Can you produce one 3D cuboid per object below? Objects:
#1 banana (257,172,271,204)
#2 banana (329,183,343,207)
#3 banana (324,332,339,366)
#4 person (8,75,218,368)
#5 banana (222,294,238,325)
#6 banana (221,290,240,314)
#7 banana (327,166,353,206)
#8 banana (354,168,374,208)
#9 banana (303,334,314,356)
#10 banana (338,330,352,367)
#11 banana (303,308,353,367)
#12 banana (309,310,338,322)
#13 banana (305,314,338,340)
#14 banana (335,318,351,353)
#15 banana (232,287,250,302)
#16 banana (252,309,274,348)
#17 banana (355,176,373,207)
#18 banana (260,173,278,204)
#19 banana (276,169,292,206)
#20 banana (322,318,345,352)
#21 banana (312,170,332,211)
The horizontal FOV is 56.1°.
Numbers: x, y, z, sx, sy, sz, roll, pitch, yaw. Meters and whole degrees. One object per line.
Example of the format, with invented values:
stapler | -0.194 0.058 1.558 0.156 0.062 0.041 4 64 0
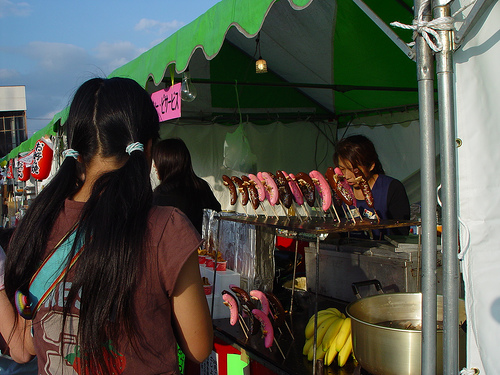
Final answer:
banana | 0.077 -0.005 2.608 0.043 0.214 0.042 -16 4 -12
banana | 0.447 0.036 2.448 0.036 0.159 0.032 -18 2 25
banana | 0.354 0.715 2.083 0.032 0.154 0.047 16 -17 11
person | -0.467 0.120 1.558 0.651 0.951 0.252 -3 -7 13
banana | -0.100 0.618 2.370 0.072 0.161 0.125 -1 -7 -7
banana | -0.099 0.579 2.425 0.070 0.116 0.031 22 27 24
banana | 0.442 -0.010 2.382 0.047 0.189 0.104 -33 -32 17
banana | 0.599 0.001 2.481 0.087 0.225 0.285 -3 -8 14
banana | 0.264 0.709 2.112 0.030 0.101 0.024 7 -18 37
banana | 0.410 0.711 2.026 0.035 0.189 0.056 14 -12 -11
banana | 0.341 0.620 2.076 0.170 0.260 0.085 -9 -49 40
banana | 0.351 0.609 2.220 0.111 0.043 0.127 -19 -9 -12
banana | 0.330 0.638 2.137 0.123 0.066 0.182 -6 9 8
banana | 0.407 0.636 2.041 0.041 0.181 0.051 11 -28 18
banana | -0.043 0.514 2.271 0.038 0.040 0.160 -10 2 -7
banana | 0.059 0.680 2.191 0.064 0.152 0.033 18 -6 31
banana | 0.592 0.019 2.417 0.054 0.243 0.048 -14 21 14
banana | 0.099 0.005 2.555 0.039 0.172 0.153 2 -8 -29
banana | 0.172 0.004 2.505 0.080 0.189 0.129 3 -8 -30
banana | 0.369 0.663 2.090 0.028 0.054 0.151 -6 32 40
banana | 0.355 0.015 2.335 0.087 0.214 0.225 -3 -8 8
